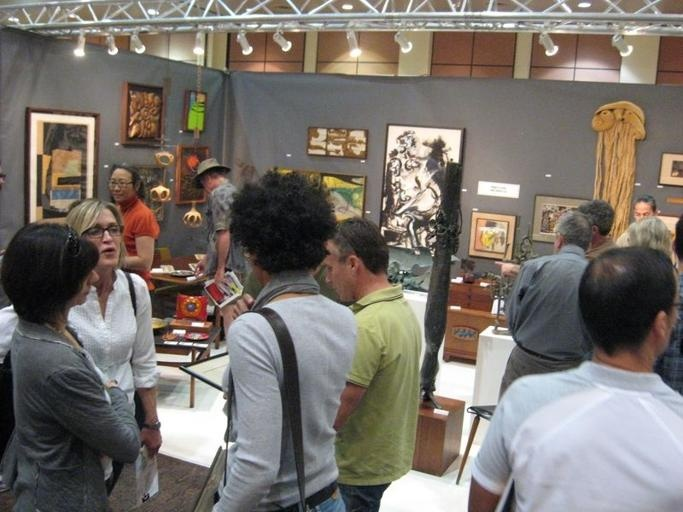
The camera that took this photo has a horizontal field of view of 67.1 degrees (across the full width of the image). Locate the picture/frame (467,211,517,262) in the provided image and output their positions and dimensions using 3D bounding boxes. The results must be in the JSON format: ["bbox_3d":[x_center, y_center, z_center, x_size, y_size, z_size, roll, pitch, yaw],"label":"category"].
[{"bbox_3d":[2.350,-0.320,7.943,0.645,0.747,0.047,8,5,15],"label":"picture/frame"}]

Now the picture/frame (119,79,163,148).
[{"bbox_3d":[-3.109,-2.201,7.915,0.167,1.087,1.083,3,5,26],"label":"picture/frame"}]

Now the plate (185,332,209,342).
[{"bbox_3d":[-1.559,0.868,5.568,0.247,0.055,0.166,5,4,-15],"label":"plate"}]

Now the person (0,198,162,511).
[{"bbox_3d":[-1.151,0.665,2.584,0.569,1.820,0.545,-3,17,-28],"label":"person"}]

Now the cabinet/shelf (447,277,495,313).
[{"bbox_3d":[1.912,0.573,7.601,0.721,0.466,0.451,5,8,23],"label":"cabinet/shelf"}]

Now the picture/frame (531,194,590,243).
[{"bbox_3d":[2.577,-0.474,6.081,0.749,0.747,0.026,4,0,9],"label":"picture/frame"}]
